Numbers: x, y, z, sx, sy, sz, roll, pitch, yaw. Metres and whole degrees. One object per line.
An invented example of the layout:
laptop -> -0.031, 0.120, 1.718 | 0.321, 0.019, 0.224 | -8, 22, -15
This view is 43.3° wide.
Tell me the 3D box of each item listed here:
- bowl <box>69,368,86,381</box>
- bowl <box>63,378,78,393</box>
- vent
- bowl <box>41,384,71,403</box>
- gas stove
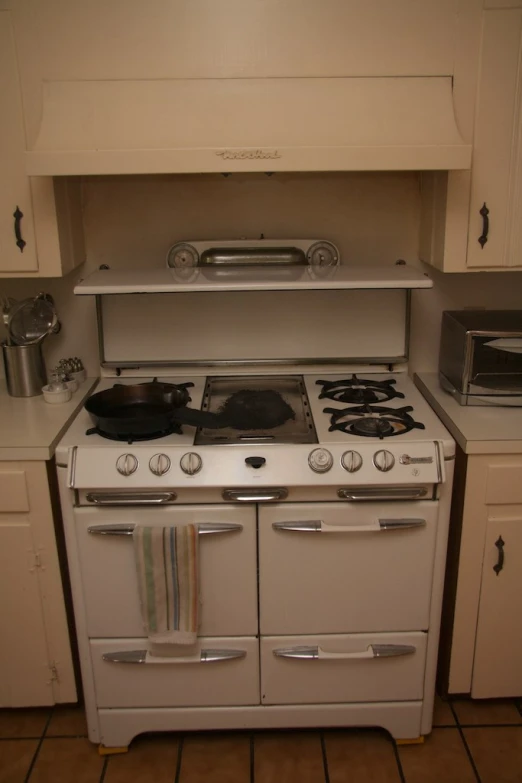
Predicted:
bowl -> -0.618, -0.055, 2.236 | 0.037, 0.026, 0.037 | 0, 5, 0
bowl -> -0.628, -0.020, 2.179 | 0.039, 0.034, 0.038 | 1, 23, 0
vent -> -0.028, -0.673, 1.663 | 1.100, 0.223, 0.182 | -1, 20, 0
bowl -> -0.634, -0.003, 2.044 | 0.065, 0.039, 0.065 | 1, 13, 0
gas stove -> -0.019, 0.058, 1.940 | 0.942, 0.105, 0.449 | 1, 21, -3
